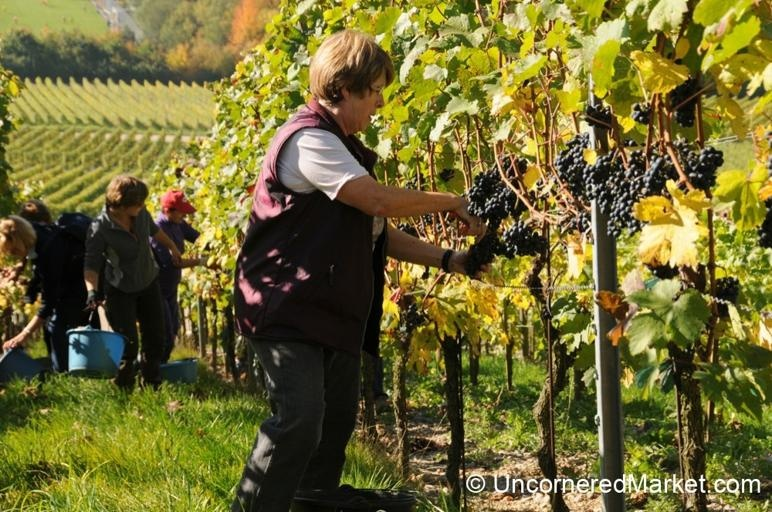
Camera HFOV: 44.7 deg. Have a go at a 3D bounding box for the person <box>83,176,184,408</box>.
[{"bbox_3d":[-2.151,0.240,7.697,0.597,1.544,0.978,2,-21,3],"label":"person"}]

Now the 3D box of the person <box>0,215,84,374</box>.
[{"bbox_3d":[-2.900,0.287,7.994,0.701,1.250,0.926,8,-22,-12],"label":"person"}]

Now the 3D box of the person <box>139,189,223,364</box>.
[{"bbox_3d":[-2.001,0.282,9.532,0.739,1.877,0.693,-6,27,-30],"label":"person"}]

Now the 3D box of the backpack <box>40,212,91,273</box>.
[{"bbox_3d":[-2.693,-0.092,7.901,0.302,0.596,0.394,-15,-14,42],"label":"backpack"}]

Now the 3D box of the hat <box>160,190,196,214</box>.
[{"bbox_3d":[-2.039,-0.533,9.202,0.306,0.173,0.219,13,30,-11],"label":"hat"}]

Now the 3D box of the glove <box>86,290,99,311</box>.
[{"bbox_3d":[-2.370,0.350,7.601,0.106,0.158,0.053,2,21,-27],"label":"glove"}]

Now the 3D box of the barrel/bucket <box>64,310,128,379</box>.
[{"bbox_3d":[-2.305,0.781,7.499,0.464,0.345,0.493,1,-15,0],"label":"barrel/bucket"}]
